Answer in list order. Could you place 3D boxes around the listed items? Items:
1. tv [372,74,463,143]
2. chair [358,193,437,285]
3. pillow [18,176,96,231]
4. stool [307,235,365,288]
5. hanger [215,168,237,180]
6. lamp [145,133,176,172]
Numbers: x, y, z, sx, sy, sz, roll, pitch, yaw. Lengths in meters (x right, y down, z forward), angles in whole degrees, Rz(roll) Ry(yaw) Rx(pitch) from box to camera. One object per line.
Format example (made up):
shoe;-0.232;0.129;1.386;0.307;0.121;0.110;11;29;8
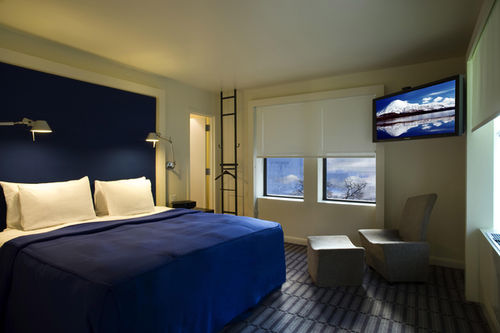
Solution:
tv;2.444;-0.806;4.885;0.123;0.856;1.421;-6;2;-30
chair;2.161;0.996;4.665;0.889;1.218;0.610;-1;3;2
pillow;-2.517;0.498;4.145;0.212;0.509;0.622;-18;-12;39
stool;1.215;1.321;4.526;0.600;0.442;0.678;-1;-3;1
hanger;-0.469;0.179;6.446;0.381;0.225;0.767;-2;2;-14
lamp;-1.562;-0.247;5.560;0.353;0.686;0.680;-1;2;8
